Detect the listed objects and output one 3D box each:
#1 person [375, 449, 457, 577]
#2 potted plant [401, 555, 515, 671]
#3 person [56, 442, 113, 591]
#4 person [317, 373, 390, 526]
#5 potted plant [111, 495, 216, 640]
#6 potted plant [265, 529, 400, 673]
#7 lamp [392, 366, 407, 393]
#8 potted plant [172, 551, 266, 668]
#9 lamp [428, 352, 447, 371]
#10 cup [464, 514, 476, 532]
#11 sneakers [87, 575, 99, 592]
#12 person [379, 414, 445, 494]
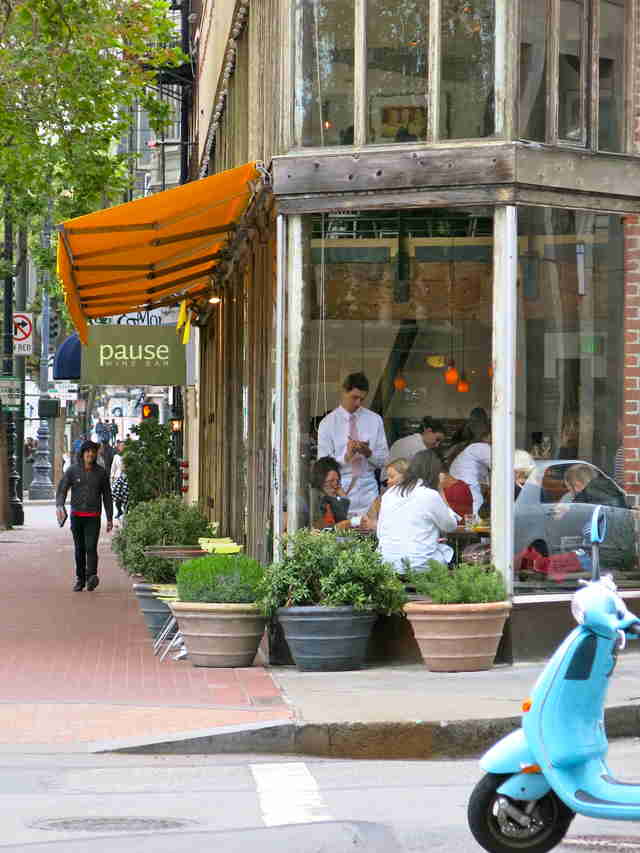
[{"bbox_3d":[0.736,0.813,10.592,0.479,1.301,0.633,6,8,24],"label":"person"},{"bbox_3d":[0.965,1.339,9.774,0.729,0.892,0.768,3,-3,-36],"label":"potted plant"},{"bbox_3d":[-2.833,1.055,17.164,0.597,1.671,1.269,-1,2,-12],"label":"person"},{"bbox_3d":[0.275,0.413,11.096,0.441,1.537,0.412,-3,2,-9],"label":"person"},{"bbox_3d":[-1.415,1.195,12.723,0.665,1.215,0.907,1,-4,4],"label":"potted plant"},{"bbox_3d":[0.076,1.173,9.685,0.764,0.883,0.857,1,-12,-4],"label":"potted plant"},{"bbox_3d":[0.670,-0.382,12.224,0.134,0.239,0.136,-4,7,-37],"label":"lamp"},{"bbox_3d":[-0.689,1.291,10.175,0.625,0.845,0.697,-1,-8,1],"label":"potted plant"},{"bbox_3d":[1.012,-0.563,12.641,0.068,0.124,0.219,-2,3,-38],"label":"lamp"},{"bbox_3d":[1.105,0.724,10.658,0.088,0.177,0.099,0,-1,-2],"label":"cup"},{"bbox_3d":[-2.668,1.865,16.691,0.087,0.246,0.088,11,12,-21],"label":"sneakers"},{"bbox_3d":[0.788,0.470,11.705,0.294,1.089,0.356,8,-7,-11],"label":"person"}]
